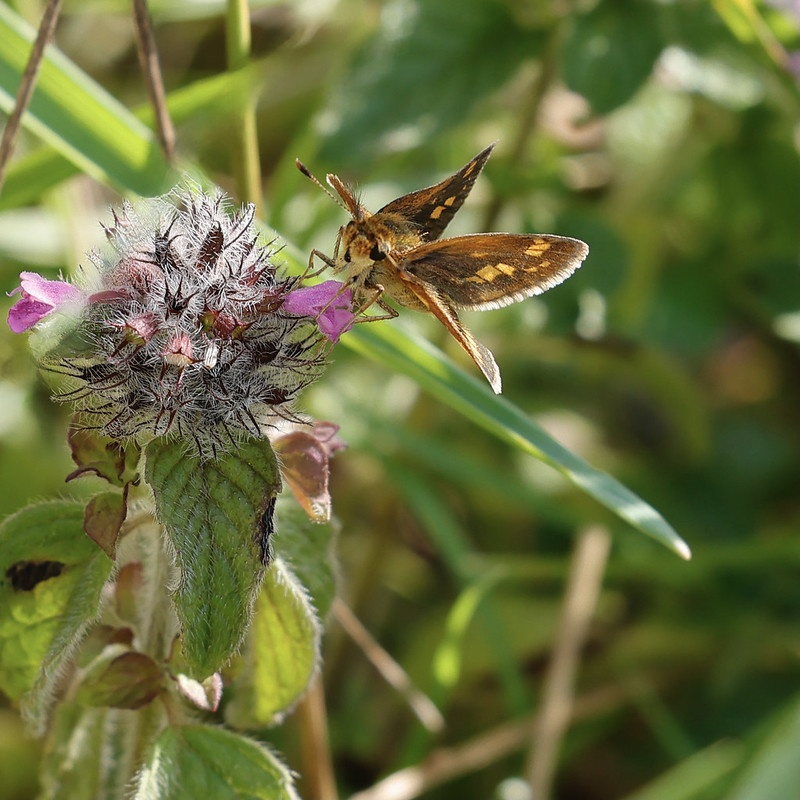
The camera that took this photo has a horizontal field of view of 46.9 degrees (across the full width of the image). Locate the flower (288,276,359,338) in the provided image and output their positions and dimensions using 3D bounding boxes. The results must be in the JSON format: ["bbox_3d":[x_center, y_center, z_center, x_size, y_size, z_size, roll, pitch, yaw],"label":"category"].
[{"bbox_3d":[-0.117,-0.145,1.407,0.124,0.075,0.054,20,-9,-19],"label":"flower"}]

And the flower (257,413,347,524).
[{"bbox_3d":[-0.141,0.106,1.511,0.171,0.153,0.055,3,21,26],"label":"flower"}]

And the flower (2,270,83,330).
[{"bbox_3d":[-0.499,-0.141,1.277,0.046,0.078,0.110,0,20,23],"label":"flower"}]

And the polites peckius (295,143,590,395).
[{"bbox_3d":[0.053,-0.222,1.558,0.391,0.373,0.358,-17,22,-25],"label":"polites peckius"}]
